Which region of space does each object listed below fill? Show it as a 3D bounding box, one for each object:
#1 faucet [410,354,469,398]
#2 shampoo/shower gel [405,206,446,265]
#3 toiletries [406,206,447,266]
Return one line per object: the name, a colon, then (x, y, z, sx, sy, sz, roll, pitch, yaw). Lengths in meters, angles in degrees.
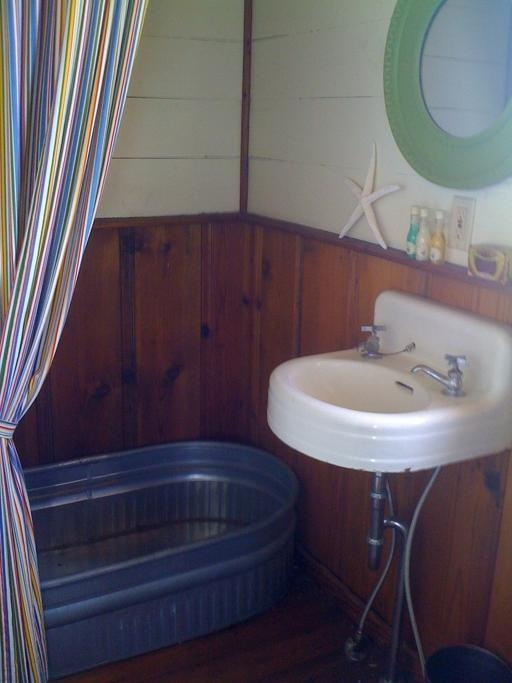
faucet: (0.347, 0.063, 1.103, 0.082, 0.085, 0.085, -15, 24, -39)
shampoo/shower gel: (0.362, -0.221, 1.230, 0.033, 0.140, 0.062, -6, 17, -27)
toiletries: (0.365, -0.224, 1.235, 0.026, 0.103, 0.086, -7, 25, -16)
